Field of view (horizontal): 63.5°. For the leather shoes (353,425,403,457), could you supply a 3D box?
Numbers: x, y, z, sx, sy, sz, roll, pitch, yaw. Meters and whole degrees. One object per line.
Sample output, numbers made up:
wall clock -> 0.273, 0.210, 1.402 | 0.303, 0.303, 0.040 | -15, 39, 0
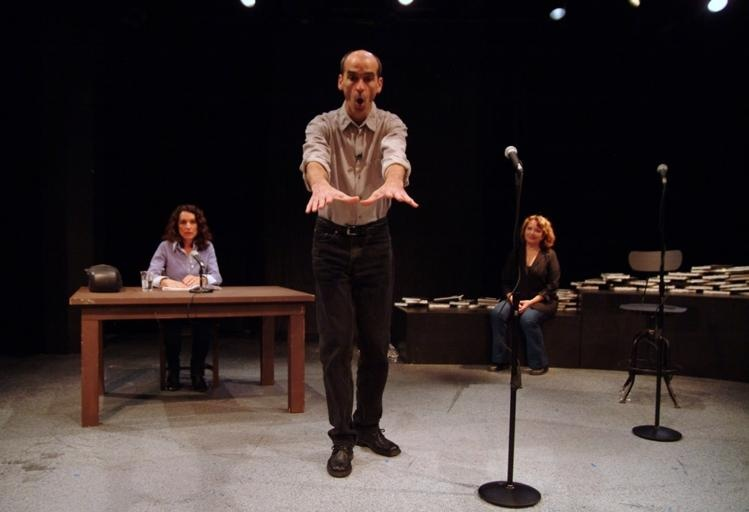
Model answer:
leather shoes -> 0.026, 1.440, 4.758 | 0.422, 0.203, 0.160 | 4, 3, 30

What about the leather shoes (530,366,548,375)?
leather shoes -> 1.816, 1.283, 6.740 | 0.202, 0.092, 0.078 | -5, 1, -13

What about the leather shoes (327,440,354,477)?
leather shoes -> -0.248, 1.479, 4.436 | 0.193, 0.200, 0.205 | 0, 8, -5

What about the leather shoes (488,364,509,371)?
leather shoes -> 1.396, 1.255, 6.833 | 0.261, 0.068, 0.118 | -1, 8, -12

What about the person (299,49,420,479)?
person -> -0.120, 0.053, 4.409 | 0.769, 3.027, 0.798 | -2, 9, -18

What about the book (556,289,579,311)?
book -> 2.305, 0.527, 7.220 | 0.207, 0.091, 0.263 | 5, 37, 7

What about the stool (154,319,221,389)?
stool -> -1.840, 1.011, 6.187 | 0.557, 0.874, 0.737 | 1, -10, -15

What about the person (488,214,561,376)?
person -> 1.730, 0.422, 6.923 | 0.713, 1.695, 0.939 | 3, 9, 19
